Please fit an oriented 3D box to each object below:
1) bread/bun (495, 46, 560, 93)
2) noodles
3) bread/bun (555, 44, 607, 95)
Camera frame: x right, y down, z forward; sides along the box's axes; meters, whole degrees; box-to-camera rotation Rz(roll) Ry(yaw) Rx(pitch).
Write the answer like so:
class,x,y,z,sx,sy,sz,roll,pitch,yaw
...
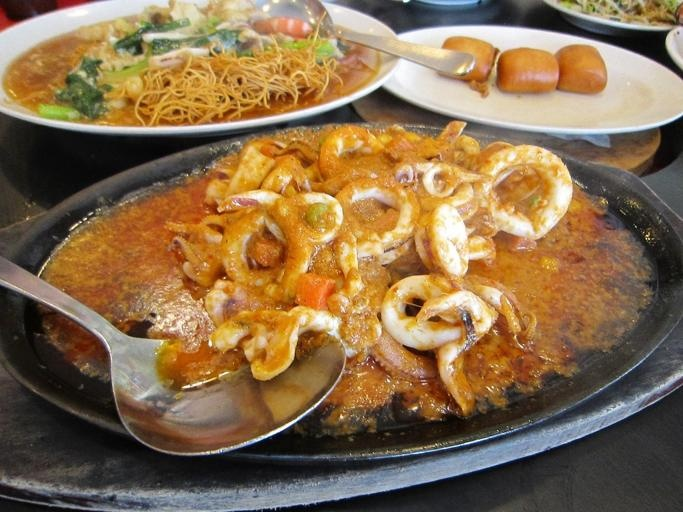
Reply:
class,x,y,z,sx,sy,sz,roll,pitch,yaw
bread/bun,0.989,-1.023,3.505,0.345,0.235,0.364,-3,20,-8
noodles,-0.541,-0.961,3.479,1.155,0.597,0.304,-16,-23,-8
bread/bun,1.325,-1.036,3.546,0.264,0.288,0.157,3,-24,1
